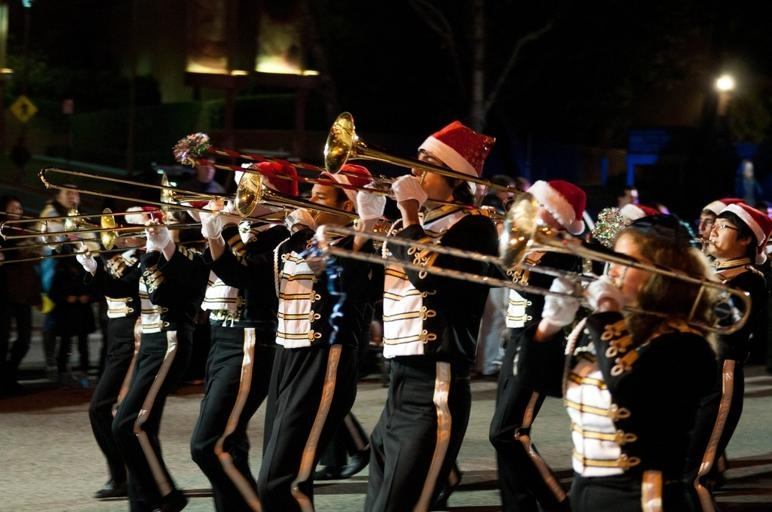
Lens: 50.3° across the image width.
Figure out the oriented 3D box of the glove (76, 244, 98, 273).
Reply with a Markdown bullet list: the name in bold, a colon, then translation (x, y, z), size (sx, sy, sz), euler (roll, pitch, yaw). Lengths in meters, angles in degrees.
- **glove**: translation (-3.112, 0.007, 8.544), size (0.264, 0.317, 0.126), euler (37, 49, 27)

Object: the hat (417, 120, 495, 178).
- **hat**: translation (0.480, -0.706, 5.493), size (0.540, 0.307, 0.335), euler (24, 0, -18)

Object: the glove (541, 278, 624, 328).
- **glove**: translation (1.021, 0.239, 4.284), size (0.381, 0.278, 0.164), euler (4, 2, 8)
